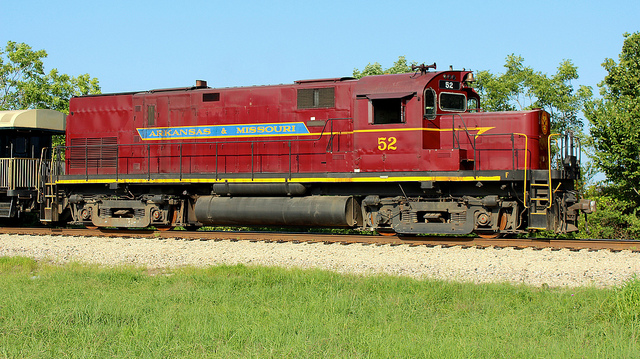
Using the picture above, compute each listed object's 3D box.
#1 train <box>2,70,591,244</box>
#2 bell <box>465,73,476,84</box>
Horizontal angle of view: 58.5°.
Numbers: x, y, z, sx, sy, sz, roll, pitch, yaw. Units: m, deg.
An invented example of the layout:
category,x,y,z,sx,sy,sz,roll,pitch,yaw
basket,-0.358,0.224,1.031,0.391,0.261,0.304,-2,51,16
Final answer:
category,x,y,z,sx,sy,sz,roll,pitch,yaw
train,-4.435,-0.550,23.296,27.587,7.457,7.044,0,0,21
bell,4.833,-3.254,18.345,0.235,0.287,0.452,-2,-11,16
